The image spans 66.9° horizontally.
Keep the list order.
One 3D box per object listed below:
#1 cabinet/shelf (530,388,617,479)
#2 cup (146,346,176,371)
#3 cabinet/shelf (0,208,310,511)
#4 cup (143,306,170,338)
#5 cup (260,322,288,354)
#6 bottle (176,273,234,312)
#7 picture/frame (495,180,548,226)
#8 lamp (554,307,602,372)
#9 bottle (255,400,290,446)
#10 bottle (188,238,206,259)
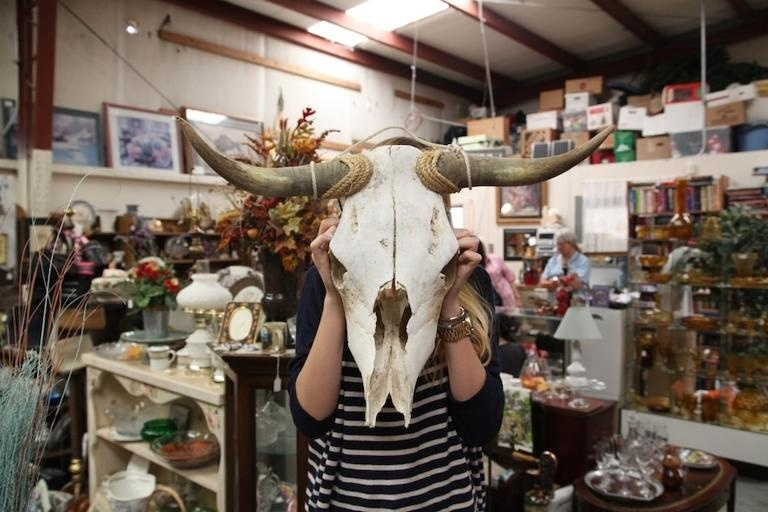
[{"bbox_3d":[1.527,1.453,4.771,0.605,0.588,0.491,3,7,42],"label":"cabinet/shelf"},{"bbox_3d":[-1.543,0.716,4.087,0.141,0.136,0.201,-8,-16,18],"label":"cup"},{"bbox_3d":[-1.664,0.811,4.147,2.349,2.230,0.850,0,-3,16],"label":"cabinet/shelf"},{"bbox_3d":[-1.666,0.480,4.255,0.203,0.235,0.211,-1,-7,0],"label":"cup"},{"bbox_3d":[-0.701,0.523,3.771,0.148,0.173,0.258,1,1,-17],"label":"cup"},{"bbox_3d":[-1.248,0.261,3.967,0.291,0.183,0.297,-1,-8,0],"label":"bottle"},{"bbox_3d":[1.720,-0.652,7.133,0.629,0.655,0.043,5,0,40],"label":"picture/frame"},{"bbox_3d":[1.585,0.670,4.765,0.329,0.524,0.335,2,2,-5],"label":"lamp"},{"bbox_3d":[-0.729,1.075,3.759,0.231,0.287,0.107,14,-10,-15],"label":"bottle"},{"bbox_3d":[-1.572,-0.068,4.895,0.138,0.191,0.141,2,22,-1],"label":"bottle"}]
